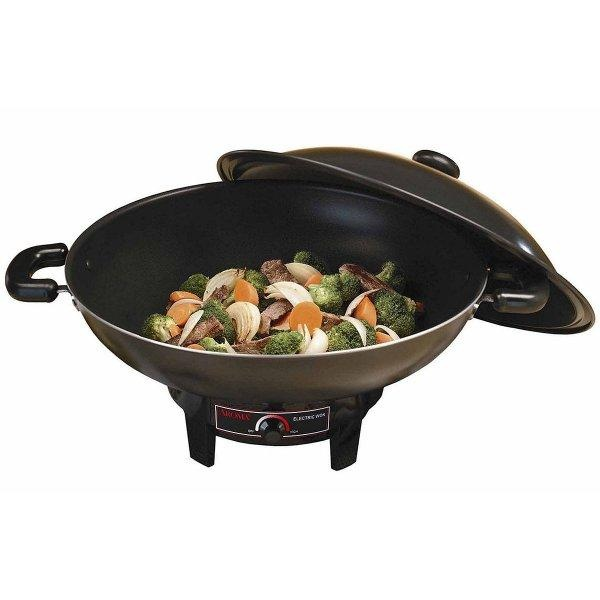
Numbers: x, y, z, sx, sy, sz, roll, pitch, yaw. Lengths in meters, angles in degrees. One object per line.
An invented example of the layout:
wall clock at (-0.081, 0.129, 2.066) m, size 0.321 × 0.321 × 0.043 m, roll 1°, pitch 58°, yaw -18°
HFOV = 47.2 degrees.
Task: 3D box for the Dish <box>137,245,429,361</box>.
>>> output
Dish at (-0.076, 0.020, 2.612) m, size 0.879 × 0.211 × 0.789 m, roll 15°, pitch 28°, yaw 27°
